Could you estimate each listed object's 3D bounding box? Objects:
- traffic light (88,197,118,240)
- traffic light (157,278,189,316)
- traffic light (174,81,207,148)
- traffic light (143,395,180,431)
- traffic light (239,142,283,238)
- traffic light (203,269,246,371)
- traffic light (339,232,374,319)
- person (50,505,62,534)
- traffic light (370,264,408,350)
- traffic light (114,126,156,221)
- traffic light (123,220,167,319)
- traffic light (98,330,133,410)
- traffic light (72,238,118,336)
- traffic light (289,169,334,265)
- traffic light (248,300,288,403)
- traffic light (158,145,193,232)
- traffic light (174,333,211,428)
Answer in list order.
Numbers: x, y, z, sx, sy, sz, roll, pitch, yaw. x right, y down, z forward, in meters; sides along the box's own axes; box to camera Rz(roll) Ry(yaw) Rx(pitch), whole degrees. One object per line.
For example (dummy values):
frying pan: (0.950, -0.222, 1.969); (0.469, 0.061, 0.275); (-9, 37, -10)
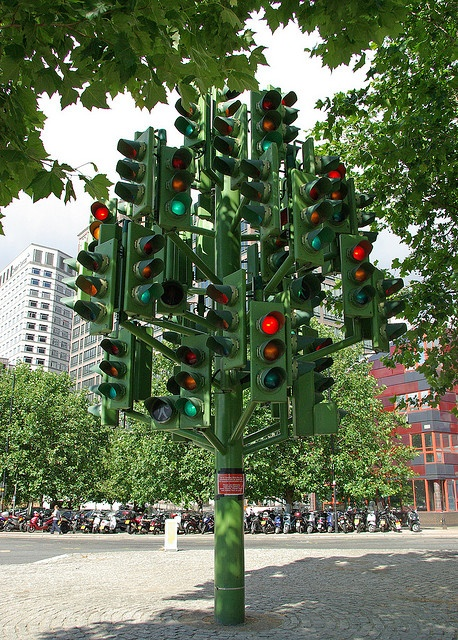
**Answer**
traffic light: (-1.305, -1.018, 6.251); (0.312, 0.481, 0.246); (0, -7, 1)
traffic light: (-0.601, -0.242, 6.541); (0.375, 0.445, 0.253); (5, -33, -13)
traffic light: (-0.431, -2.319, 6.977); (0.341, 0.676, 0.587); (0, -14, -2)
traffic light: (-0.630, 0.880, 5.908); (0.362, 0.330, 0.392); (-1, -14, 3)
traffic light: (0.255, -1.097, 5.086); (0.317, 0.882, 0.389); (-1, -15, 4)
traffic light: (-0.018, -0.036, 5.067); (0.310, 0.868, 0.506); (0, -14, -1)
traffic light: (1.285, -0.465, 6.158); (0.310, 0.843, 0.403); (-3, -15, 11)
person: (-9.580, 11.070, 34.180); (0.580, 1.409, 2.342); (4, -14, -14)
traffic light: (1.637, -0.100, 6.358); (0.337, 0.778, 0.313); (-4, -10, 20)
traffic light: (-0.785, -1.233, 5.192); (0.322, 0.701, 0.304); (1, -15, -6)
traffic light: (-0.717, -0.440, 5.193); (0.314, 0.813, 0.340); (2, -15, -10)
traffic light: (-1.063, 0.436, 5.867); (0.310, 0.788, 0.328); (3, -15, -11)
traffic light: (-1.185, -0.320, 5.489); (0.346, 0.871, 0.436); (3, -15, -13)
traffic light: (0.706, -0.925, 5.225); (0.333, 0.919, 0.501); (-2, -15, 7)
traffic light: (0.309, 0.240, 4.871); (0.282, 0.789, 0.239); (-1, -15, 2)
traffic light: (-0.454, -1.137, 5.168); (0.278, 0.714, 0.212); (1, -15, -7)
traffic light: (-0.325, 0.540, 5.596); (0.324, 0.839, 0.375); (1, -15, -4)
